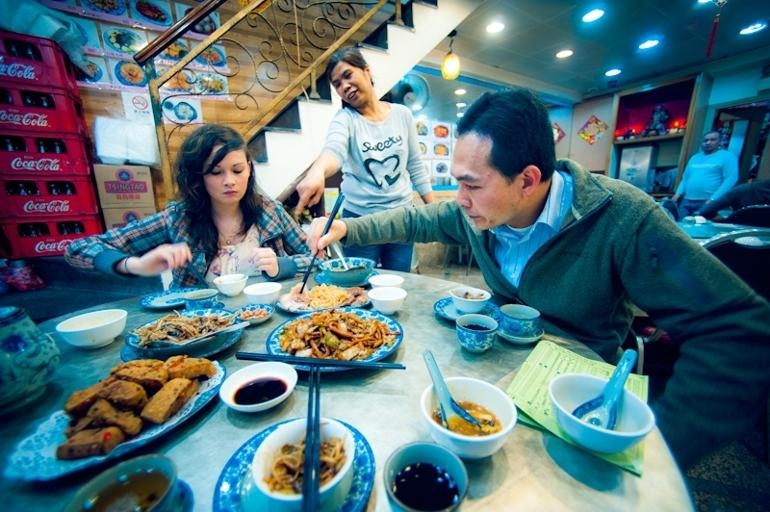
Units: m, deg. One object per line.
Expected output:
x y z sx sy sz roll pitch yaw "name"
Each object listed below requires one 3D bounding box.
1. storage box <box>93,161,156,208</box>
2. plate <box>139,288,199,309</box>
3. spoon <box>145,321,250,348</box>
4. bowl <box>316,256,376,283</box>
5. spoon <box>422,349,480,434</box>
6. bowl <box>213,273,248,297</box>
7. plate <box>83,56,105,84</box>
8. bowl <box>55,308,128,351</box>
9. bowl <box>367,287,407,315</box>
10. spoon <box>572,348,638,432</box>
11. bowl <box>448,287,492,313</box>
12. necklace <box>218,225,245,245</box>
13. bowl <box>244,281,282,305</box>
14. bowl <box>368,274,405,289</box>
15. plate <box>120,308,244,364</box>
-3.381 -0.931 6.194 0.594 0.489 0.187 13 0 -44 "storage box"
-1.855 0.368 4.047 0.244 0.040 0.236 2 18 -4 "plate"
-1.417 0.592 3.614 0.455 0.065 0.088 -14 9 -14 "spoon"
-0.333 0.139 4.309 0.320 0.121 0.295 0 4 0 "bowl"
0.403 0.949 3.243 0.204 0.644 0.113 -29 -22 -5 "spoon"
-1.347 0.233 4.185 0.215 0.116 0.211 2 19 -1 "bowl"
-3.728 -2.414 6.231 0.066 0.284 0.289 21 28 37 "plate"
-2.202 0.539 3.632 0.360 0.158 0.351 -4 8 1 "bowl"
0.022 0.337 3.888 0.237 0.132 0.229 0 10 0 "bowl"
1.483 0.964 3.233 0.247 0.125 0.738 21 64 34 "spoon"
0.688 0.344 3.850 0.239 0.104 0.232 2 10 0 "bowl"
-1.523 -0.212 4.760 0.189 0.136 0.184 1 10 6 "necklace"
-1.018 0.297 4.019 0.213 0.102 0.208 -3 20 1 "bowl"
0.004 0.216 4.167 0.169 0.064 0.163 1 20 0 "bowl"
-1.482 0.626 3.589 0.496 0.125 0.485 4 20 7 "plate"
